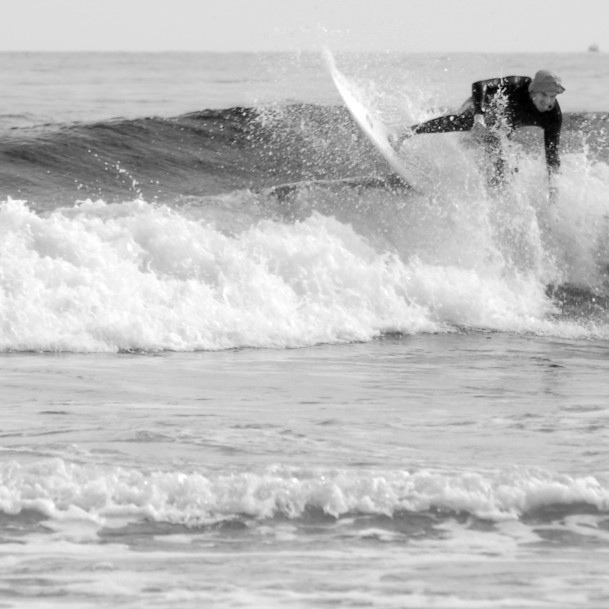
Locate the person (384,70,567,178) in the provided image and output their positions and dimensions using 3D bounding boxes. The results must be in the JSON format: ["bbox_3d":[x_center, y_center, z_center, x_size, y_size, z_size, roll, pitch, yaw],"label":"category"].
[{"bbox_3d":[1.937,-2.097,17.702,1.112,1.071,2.279,16,-21,-37],"label":"person"}]
